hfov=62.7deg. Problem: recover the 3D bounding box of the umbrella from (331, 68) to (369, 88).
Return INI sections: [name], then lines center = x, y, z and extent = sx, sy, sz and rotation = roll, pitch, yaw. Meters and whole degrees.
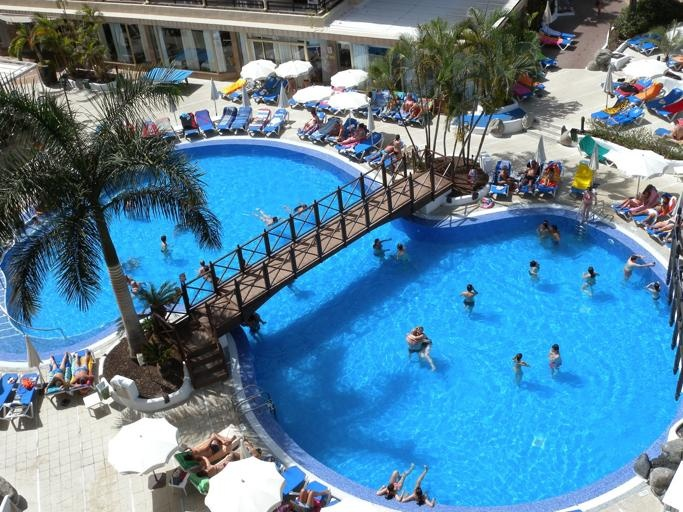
[umbrella]
center = 0.427, -8.567, 28.463
extent = 1.766, 1.060, 1.492
rotation = -1, 40, -4
